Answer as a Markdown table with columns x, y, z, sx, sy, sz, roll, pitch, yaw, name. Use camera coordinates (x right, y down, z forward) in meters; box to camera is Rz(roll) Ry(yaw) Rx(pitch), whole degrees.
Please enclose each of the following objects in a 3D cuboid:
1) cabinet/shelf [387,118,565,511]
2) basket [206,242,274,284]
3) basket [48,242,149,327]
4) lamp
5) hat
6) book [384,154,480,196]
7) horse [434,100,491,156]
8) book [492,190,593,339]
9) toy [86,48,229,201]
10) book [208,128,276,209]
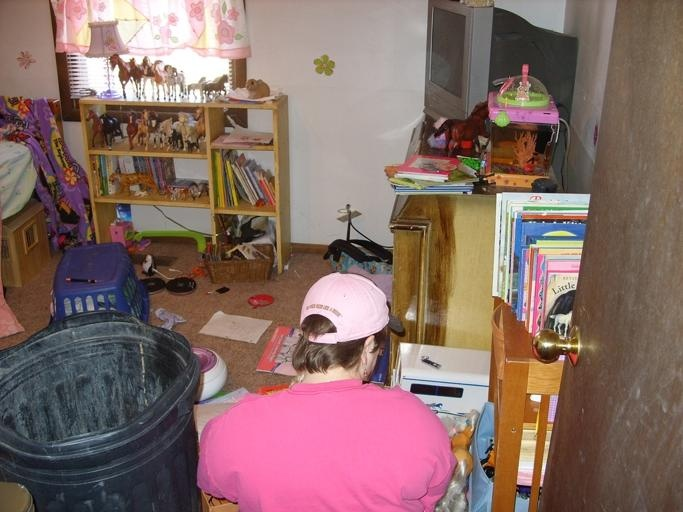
| x | y | z | sx | sy | sz | roll | pitch | yaw | name |
| --- | --- | --- | --- | --- | --- | --- | --- | --- | --- |
| 0.484 | 0.210 | 1.936 | 0.395 | 1.012 | 1.079 | 4 | 48 | 3 | cabinet/shelf |
| -0.747 | 0.059 | 3.979 | 0.396 | 0.170 | 0.290 | 1 | 22 | -1 | basket |
| -1.506 | 0.151 | 3.420 | 0.526 | 0.402 | 0.747 | -3 | 25 | -12 | basket |
| -1.730 | -1.415 | 3.951 | 0.263 | 0.518 | 0.513 | -7 | 14 | -31 | lamp |
| 0.045 | 0.153 | 1.554 | 0.250 | 0.183 | 0.338 | -2 | -3 | 40 | hat |
| 0.411 | -0.372 | 2.464 | 0.427 | 0.157 | 0.333 | 2 | 13 | 8 | book |
| 0.643 | -0.665 | 2.785 | 0.340 | 0.251 | 0.110 | -15 | 21 | -17 | horse |
| 0.586 | 0.022 | 1.631 | 0.279 | 0.421 | 0.122 | 2 | 5 | -5 | book |
| -1.378 | -1.000 | 4.060 | 1.005 | 0.946 | 0.373 | 1 | 20 | 1 | toy |
| -0.709 | -0.661 | 4.067 | 0.462 | 0.592 | 0.372 | 1 | 12 | 4 | book |
